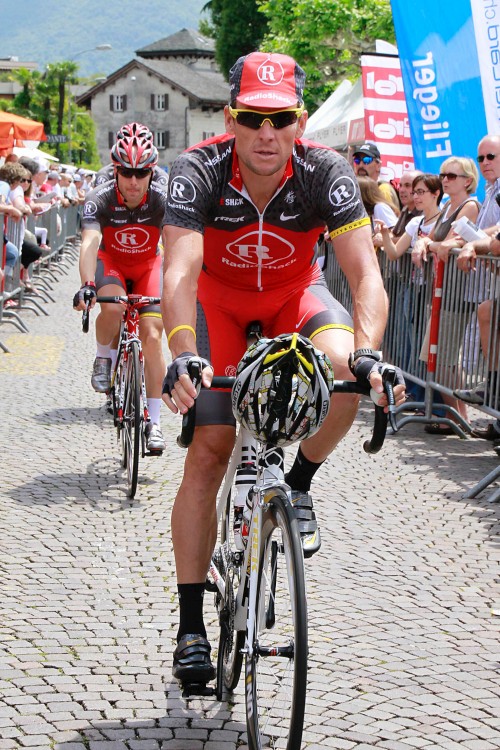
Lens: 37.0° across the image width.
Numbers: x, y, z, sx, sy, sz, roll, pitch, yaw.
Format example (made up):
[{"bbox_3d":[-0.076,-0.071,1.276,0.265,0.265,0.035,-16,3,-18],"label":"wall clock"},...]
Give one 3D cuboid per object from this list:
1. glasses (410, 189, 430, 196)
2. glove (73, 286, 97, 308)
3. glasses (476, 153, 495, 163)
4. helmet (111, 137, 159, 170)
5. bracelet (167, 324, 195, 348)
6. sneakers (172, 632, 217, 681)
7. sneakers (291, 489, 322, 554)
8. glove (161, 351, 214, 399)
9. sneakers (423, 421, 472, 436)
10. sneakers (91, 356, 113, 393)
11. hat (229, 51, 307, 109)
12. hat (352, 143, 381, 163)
[{"bbox_3d":[1.829,-1.958,7.961,0.111,0.043,0.126,3,5,43],"label":"glasses"},{"bbox_3d":[-1.168,-0.542,5.152,0.182,0.063,0.134,-38,-8,8],"label":"glove"},{"bbox_3d":[2.220,-2.043,7.037,0.058,0.072,0.228,1,1,-19],"label":"glasses"},{"bbox_3d":[-0.879,-1.723,5.768,0.362,0.274,0.337,1,1,-15],"label":"helmet"},{"bbox_3d":[-0.175,-0.106,1.908,0.068,0.050,0.073,2,1,-7],"label":"bracelet"},{"bbox_3d":[-0.173,0.826,2.166,0.107,0.139,0.320,6,-18,-7],"label":"sneakers"},{"bbox_3d":[0.148,0.381,1.943,0.064,0.075,0.192,-3,29,-7],"label":"sneakers"},{"bbox_3d":[-0.139,0.005,1.641,0.076,0.099,0.040,13,-3,35],"label":"glove"},{"bbox_3d":[1.950,0.504,7.315,0.394,0.111,0.148,7,2,-2],"label":"sneakers"},{"bbox_3d":[-1.267,-0.015,6.420,0.126,0.143,0.362,3,32,-17],"label":"sneakers"},{"bbox_3d":[0.053,-0.808,2.033,0.178,0.124,0.278,2,29,-2],"label":"hat"},{"bbox_3d":[1.506,-2.796,9.504,0.247,0.192,0.377,1,-3,20],"label":"hat"}]
